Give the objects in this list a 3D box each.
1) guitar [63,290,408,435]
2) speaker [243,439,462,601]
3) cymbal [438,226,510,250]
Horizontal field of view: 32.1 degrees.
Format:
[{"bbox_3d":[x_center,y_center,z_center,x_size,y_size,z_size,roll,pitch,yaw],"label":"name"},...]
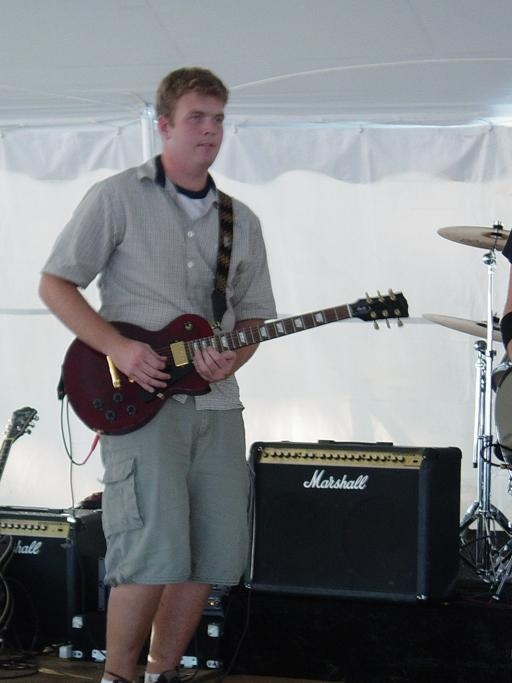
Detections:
[{"bbox_3d":[-0.124,0.079,2.811,0.985,0.432,0.224,-2,0,-13],"label":"guitar"},{"bbox_3d":[0.408,0.655,3.743,1.113,0.685,0.620,-1,-7,17],"label":"speaker"},{"bbox_3d":[1.065,-0.486,4.248,0.339,0.127,0.185,-2,0,40],"label":"cymbal"}]
